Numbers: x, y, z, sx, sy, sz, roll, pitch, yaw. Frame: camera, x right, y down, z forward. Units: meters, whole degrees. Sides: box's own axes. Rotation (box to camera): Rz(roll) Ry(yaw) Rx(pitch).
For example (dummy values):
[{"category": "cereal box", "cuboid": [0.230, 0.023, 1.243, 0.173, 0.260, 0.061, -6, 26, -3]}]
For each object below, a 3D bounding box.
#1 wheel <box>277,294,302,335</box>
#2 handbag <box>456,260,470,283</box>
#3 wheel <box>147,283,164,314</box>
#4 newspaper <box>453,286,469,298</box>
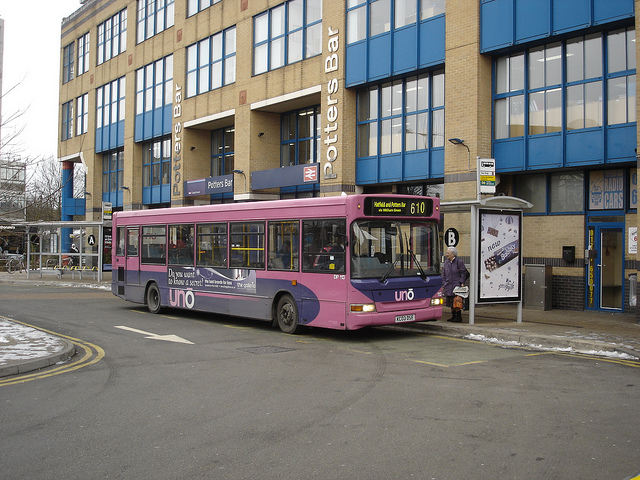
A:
[{"category": "wheel", "cuboid": [-0.729, 1.846, 14.817, 0.337, 1.080, 0.877, 7, -2, -34]}, {"category": "handbag", "cuboid": [3.924, 0.913, 16.161, 0.300, 0.553, 0.554, -7, -4, 8]}, {"category": "wheel", "cuboid": [-5.378, 1.879, 19.414, 0.281, 0.899, 0.818, 3, -12, -33]}, {"category": "newspaper", "cuboid": [3.834, 1.410, 16.033, 0.415, 0.294, 0.245, 0, 2, 13]}]
